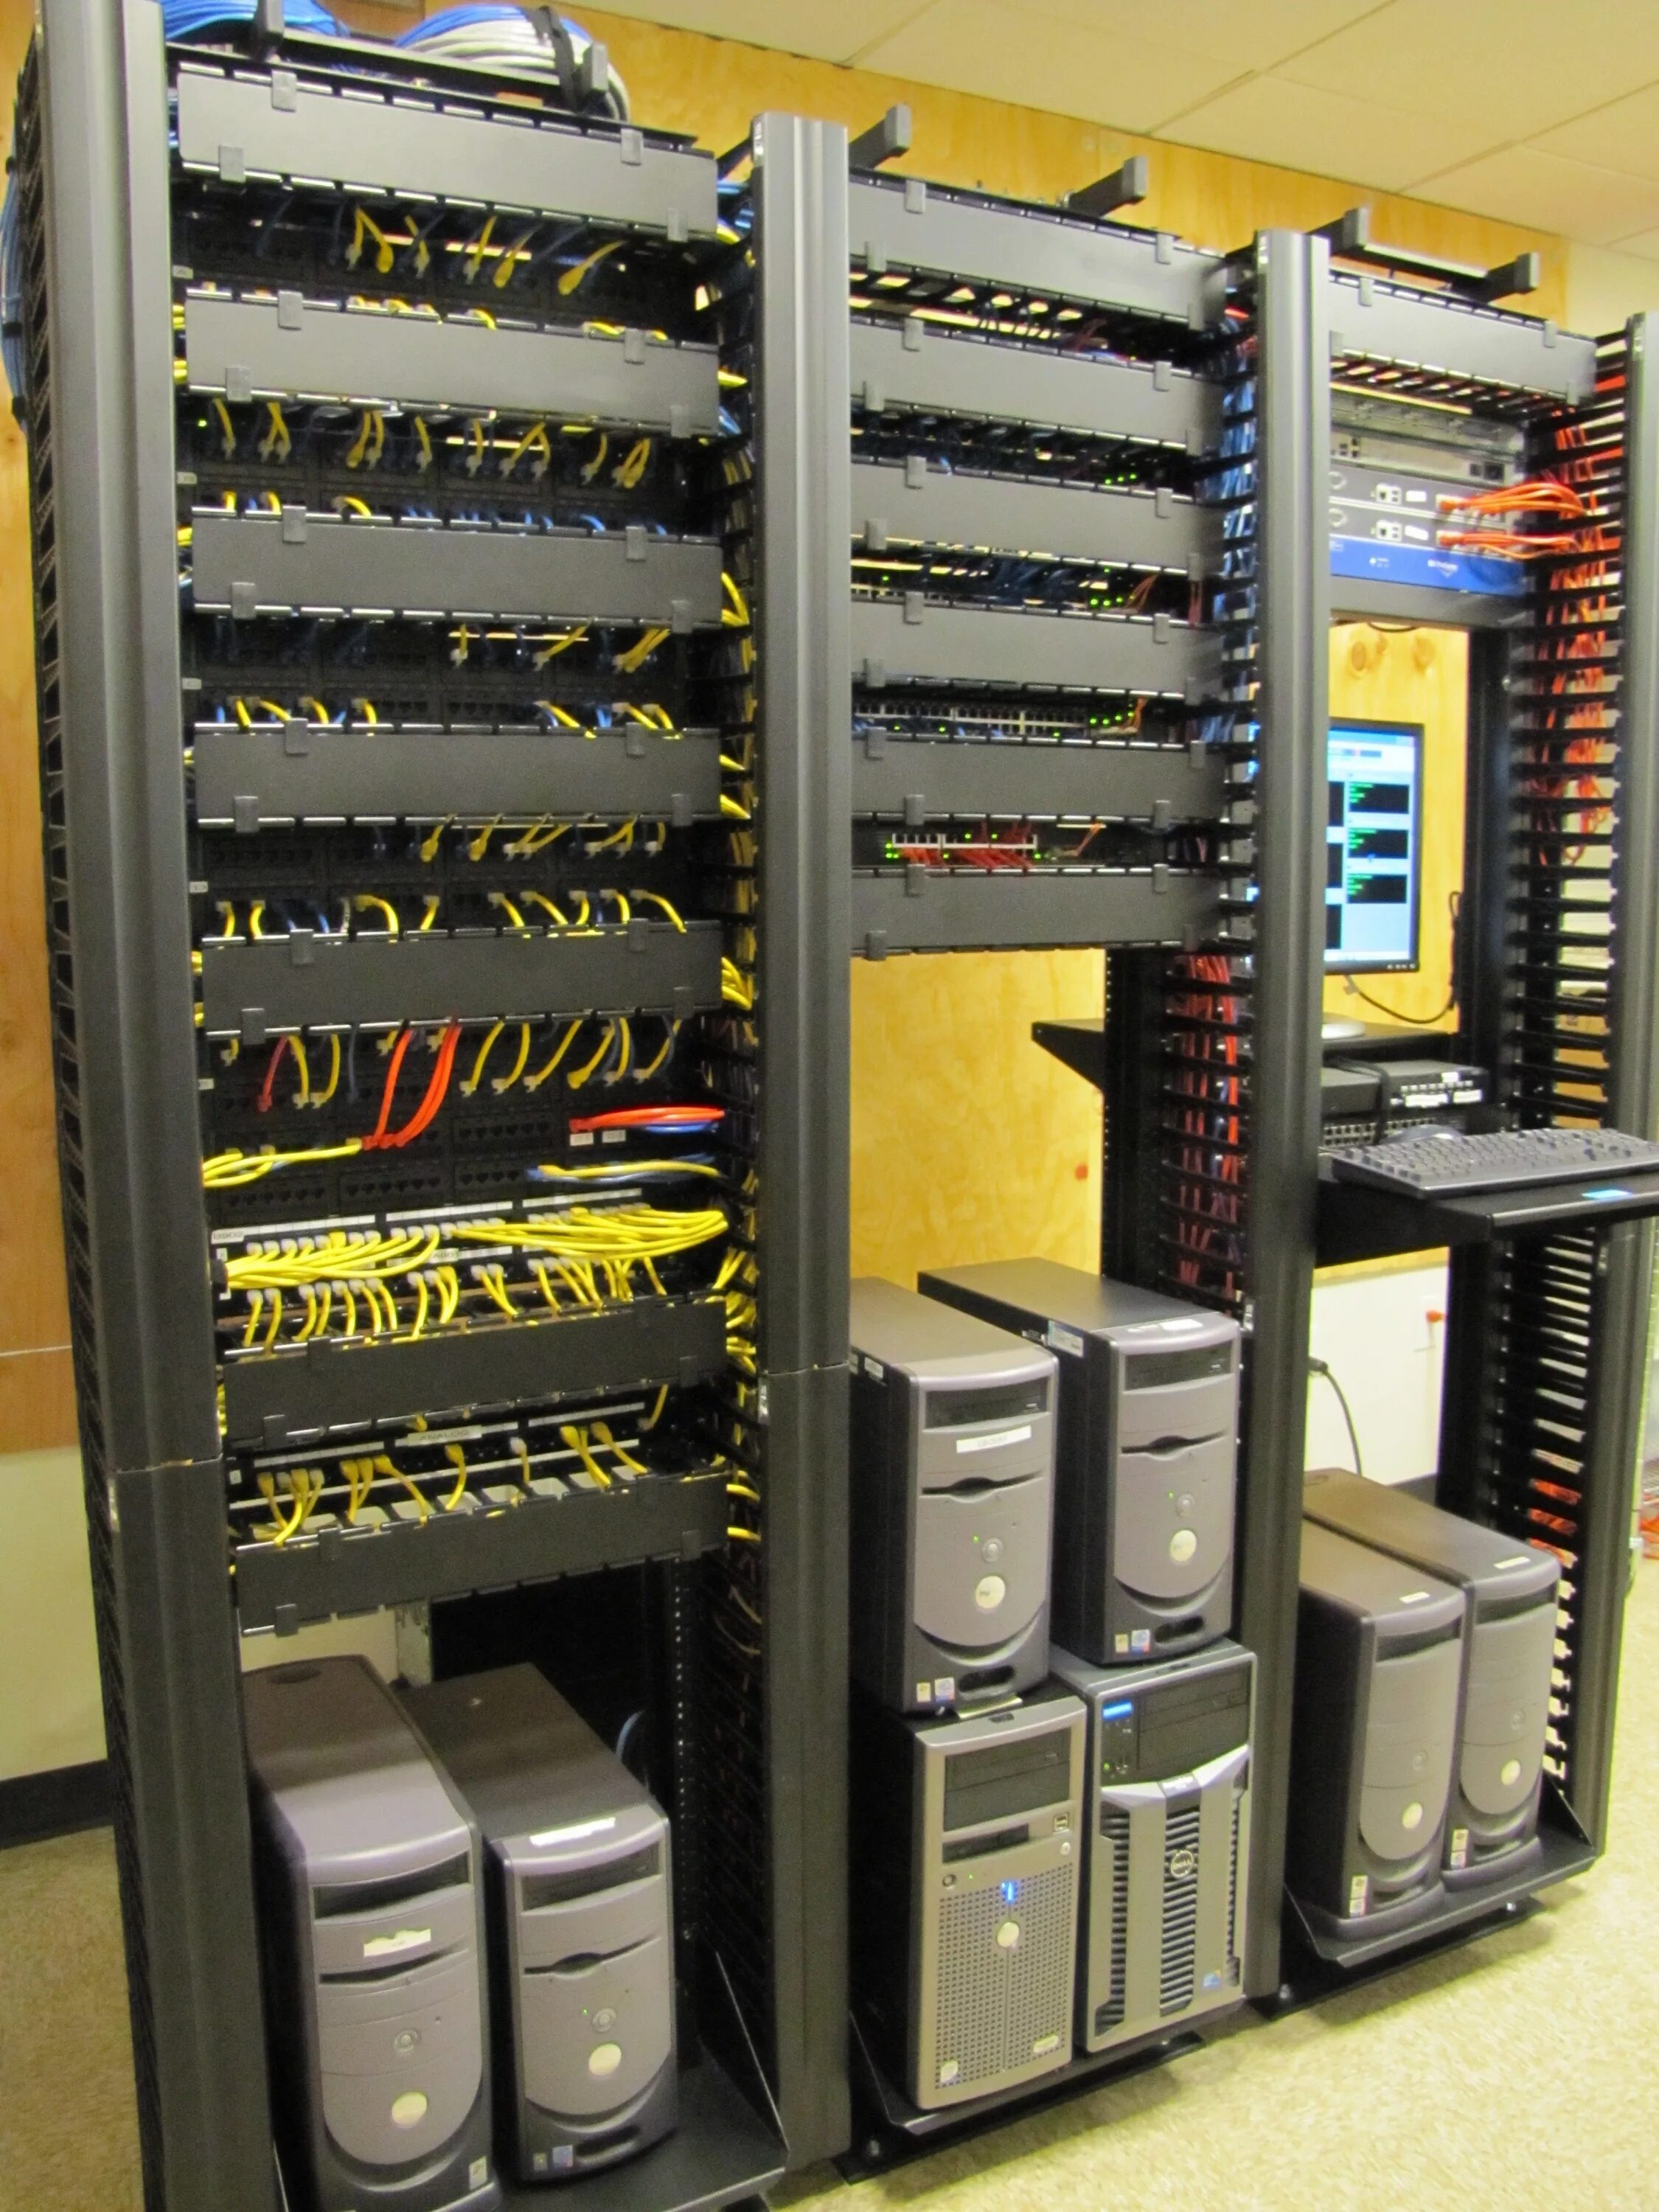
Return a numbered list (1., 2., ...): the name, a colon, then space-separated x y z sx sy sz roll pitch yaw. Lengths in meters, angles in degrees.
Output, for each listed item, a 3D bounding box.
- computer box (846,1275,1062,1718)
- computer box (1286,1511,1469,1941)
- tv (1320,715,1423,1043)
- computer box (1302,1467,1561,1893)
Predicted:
1. computer box: 0.122 0.450 2.096 0.187 0.383 0.172 -4 10 -26
2. computer box: 0.671 0.801 2.384 0.204 0.412 0.140 2 9 12
3. tv: 0.734 -0.347 2.653 0.072 0.351 0.252 7 11 36
4. computer box: 0.704 0.750 2.608 0.331 0.396 0.442 -5 10 -26
